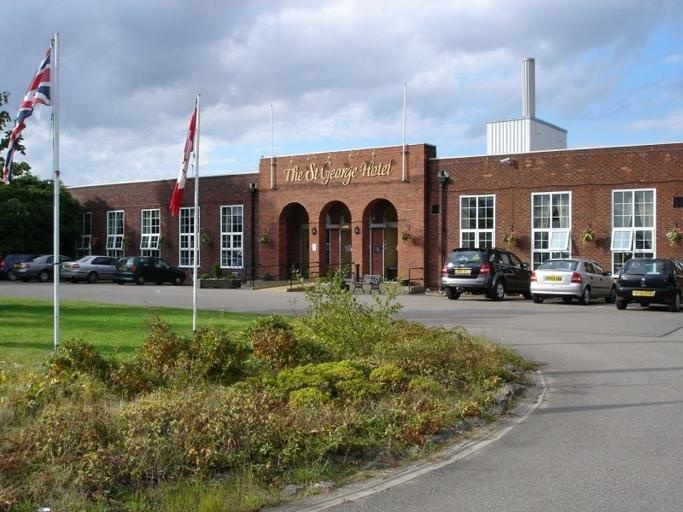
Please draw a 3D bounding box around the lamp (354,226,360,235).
[{"bbox_3d":[0.718,-1.277,34.250,0.318,0.427,0.089,-2,-2,16],"label":"lamp"}]

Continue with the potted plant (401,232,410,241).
[{"bbox_3d":[2.885,-0.912,32.286,0.305,0.314,0.337,3,4,17],"label":"potted plant"}]

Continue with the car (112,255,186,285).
[{"bbox_3d":[-9.926,0.738,36.561,1.419,1.120,2.760,0,1,41],"label":"car"}]

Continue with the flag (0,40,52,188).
[{"bbox_3d":[-5.449,-2.451,12.294,0.750,2.114,2.045,0,-2,-26],"label":"flag"}]

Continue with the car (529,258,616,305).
[{"bbox_3d":[8.079,0.829,24.103,3.525,1.517,1.667,0,-2,-29],"label":"car"}]

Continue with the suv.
[{"bbox_3d":[5.542,0.625,26.050,4.007,1.903,2.121,0,-2,-29],"label":"suv"}]

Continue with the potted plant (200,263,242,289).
[{"bbox_3d":[-6.103,1.164,35.706,1.504,1.099,1.645,0,0,8],"label":"potted plant"}]

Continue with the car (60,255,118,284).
[{"bbox_3d":[-13.059,0.617,37.620,1.383,1.202,3.444,2,4,43],"label":"car"}]

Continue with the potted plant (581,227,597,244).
[{"bbox_3d":[10.056,-0.873,28.900,0.548,0.851,0.583,0,-3,-3],"label":"potted plant"}]

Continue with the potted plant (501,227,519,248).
[{"bbox_3d":[7.162,-0.891,30.582,0.696,1.168,0.858,-3,-5,32],"label":"potted plant"}]
